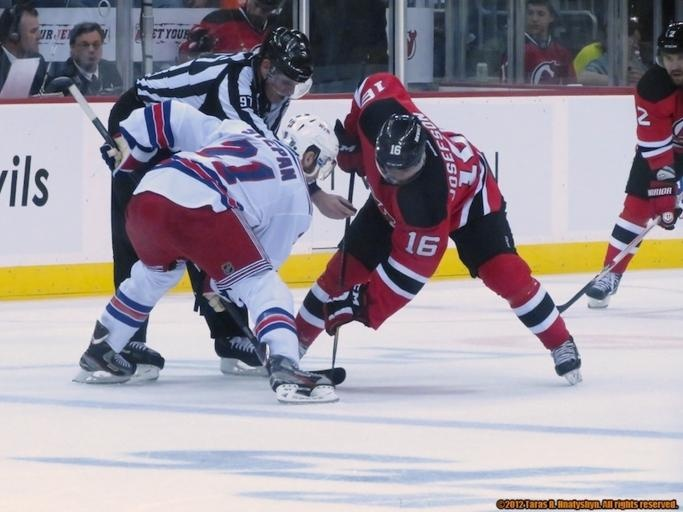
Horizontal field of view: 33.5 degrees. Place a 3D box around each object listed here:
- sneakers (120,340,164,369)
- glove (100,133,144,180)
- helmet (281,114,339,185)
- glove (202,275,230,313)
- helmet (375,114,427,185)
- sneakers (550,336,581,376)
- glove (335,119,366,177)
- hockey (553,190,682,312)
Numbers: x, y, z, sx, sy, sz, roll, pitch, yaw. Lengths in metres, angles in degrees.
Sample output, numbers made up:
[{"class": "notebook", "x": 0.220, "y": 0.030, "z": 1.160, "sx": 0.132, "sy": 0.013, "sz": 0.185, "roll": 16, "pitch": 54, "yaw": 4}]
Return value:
[{"class": "sneakers", "x": -0.790, "y": 0.405, "z": 4.642, "sx": 0.206, "sy": 0.072, "sz": 0.080, "roll": 13, "pitch": -7, "yaw": -28}, {"class": "glove", "x": -0.873, "y": -0.399, "z": 4.515, "sx": 0.069, "sy": 0.177, "sz": 0.176, "roll": -14, "pitch": -27, "yaw": -53}, {"class": "helmet", "x": -0.135, "y": -0.415, "z": 4.535, "sx": 0.237, "sy": 0.284, "sz": 0.237, "roll": -1, "pitch": 11, "yaw": -4}, {"class": "glove", "x": -0.517, "y": 0.166, "z": 4.595, "sx": 0.057, "sy": 0.150, "sz": 0.109, "roll": -53, "pitch": 6, "yaw": -32}, {"class": "helmet", "x": 0.259, "y": -0.405, "z": 4.329, "sx": 0.180, "sy": 0.229, "sz": 0.253, "roll": 1, "pitch": 53, "yaw": 13}, {"class": "sneakers", "x": 0.907, "y": 0.414, "z": 4.596, "sx": 0.100, "sy": 0.152, "sz": 0.100, "roll": -1, "pitch": 11, "yaw": -5}, {"class": "glove", "x": 0.037, "y": -0.458, "z": 4.747, "sx": 0.139, "sy": 0.166, "sz": 0.186, "roll": -24, "pitch": 58, "yaw": -11}, {"class": "hockey", "x": 1.552, "y": -0.032, "z": 6.554, "sx": 0.972, "sy": 0.143, "sz": 0.079, "roll": -42, "pitch": 8, "yaw": -6}]
